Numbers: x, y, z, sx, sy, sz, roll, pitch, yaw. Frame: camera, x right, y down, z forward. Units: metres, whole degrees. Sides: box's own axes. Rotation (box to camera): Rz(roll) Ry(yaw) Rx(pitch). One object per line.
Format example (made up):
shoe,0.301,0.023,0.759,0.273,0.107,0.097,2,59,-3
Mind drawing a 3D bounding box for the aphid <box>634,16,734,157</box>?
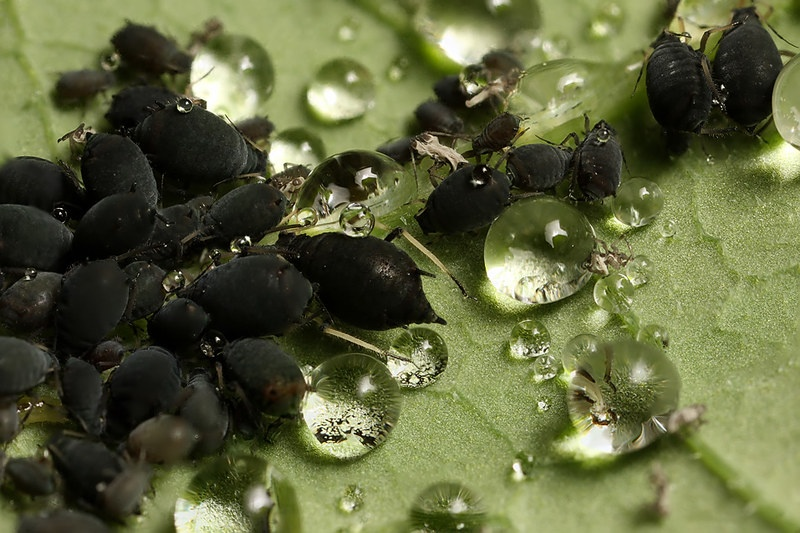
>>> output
aphid,0.705,-0.446,2.220,0.206,0.211,0.265,-10,50,1
